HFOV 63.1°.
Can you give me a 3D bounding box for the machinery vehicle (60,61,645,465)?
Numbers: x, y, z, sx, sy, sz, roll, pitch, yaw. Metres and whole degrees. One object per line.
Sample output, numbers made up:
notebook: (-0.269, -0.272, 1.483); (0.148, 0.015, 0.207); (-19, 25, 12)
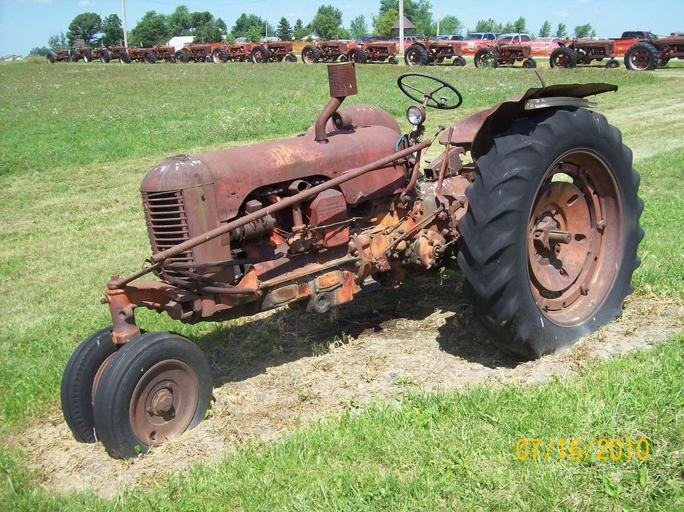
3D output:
machinery vehicle: (0.207, -0.252, 4.795); (3.400, 2.241, 4.792); (8, 19, 39)
